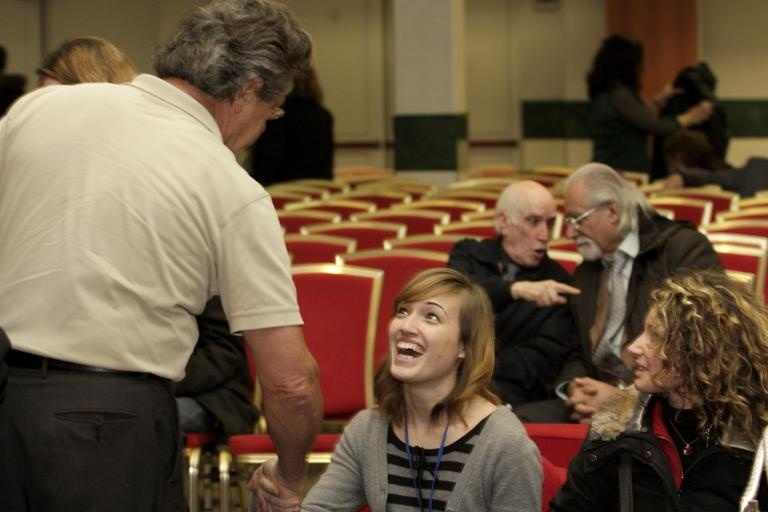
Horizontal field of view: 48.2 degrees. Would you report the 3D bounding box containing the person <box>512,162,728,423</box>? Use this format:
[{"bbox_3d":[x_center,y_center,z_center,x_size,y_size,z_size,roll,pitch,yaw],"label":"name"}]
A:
[{"bbox_3d":[1.333,0.342,4.652,1.003,1.544,1.092,5,-15,-1],"label":"person"}]

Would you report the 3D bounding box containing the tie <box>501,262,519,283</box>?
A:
[{"bbox_3d":[0.650,0.086,4.418,0.072,0.105,0.035,12,1,25],"label":"tie"}]
